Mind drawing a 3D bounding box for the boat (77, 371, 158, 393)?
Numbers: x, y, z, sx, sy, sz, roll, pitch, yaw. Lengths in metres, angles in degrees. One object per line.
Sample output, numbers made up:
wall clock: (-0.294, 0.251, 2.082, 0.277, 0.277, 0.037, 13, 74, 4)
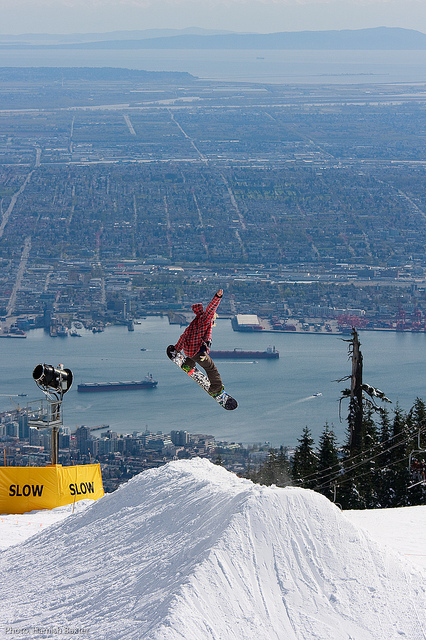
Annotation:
boat: (-3.073, 2.020, 45.088, 2.625, 0.451, 1.436, -1, -2, -17)

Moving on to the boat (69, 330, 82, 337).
boat: (-6.022, 0.577, 60.706, 0.173, 0.273, 0.592, -5, 8, -27)

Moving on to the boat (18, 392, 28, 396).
boat: (-6.001, 2.330, 44.549, 0.246, 0.083, 0.649, -2, -2, 2)

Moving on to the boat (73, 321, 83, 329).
boat: (-6.099, 0.249, 63.698, 0.305, 0.088, 0.328, 7, 35, -16)

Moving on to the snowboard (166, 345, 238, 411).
snowboard: (-0.301, 1.342, 29.694, 0.449, 0.559, 2.743, 1, 34, -38)
